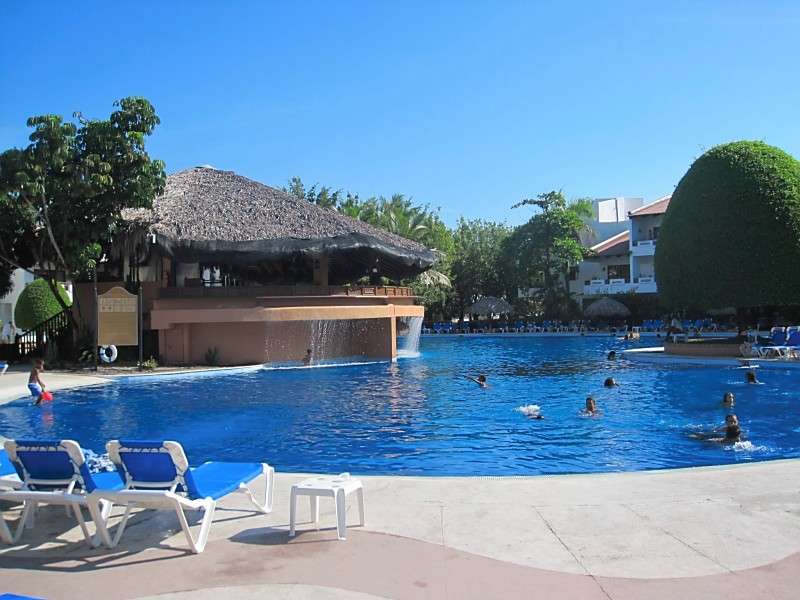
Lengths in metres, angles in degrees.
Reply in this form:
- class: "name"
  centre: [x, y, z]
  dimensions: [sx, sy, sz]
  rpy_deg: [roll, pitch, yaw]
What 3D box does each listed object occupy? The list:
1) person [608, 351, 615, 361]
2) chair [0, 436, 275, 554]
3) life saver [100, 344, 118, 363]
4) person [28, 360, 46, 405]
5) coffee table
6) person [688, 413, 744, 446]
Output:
- class: "person"
  centre: [8.785, 2.299, 28.656]
  dimensions: [0.266, 0.364, 0.902]
  rpy_deg: [-2, -1, 3]
- class: "chair"
  centre: [-2.858, 1.919, 7.386]
  dimensions: [2.543, 0.940, 1.240]
  rpy_deg: [-1, 0, 7]
- class: "life saver"
  centre: [-10.205, 1.878, 24.301]
  dimensions: [0.506, 0.564, 1.091]
  rpy_deg: [0, 0, -24]
- class: "person"
  centre: [-9.225, 2.005, 17.680]
  dimensions: [0.358, 1.014, 1.612]
  rpy_deg: [-1, 0, -28]
- class: "coffee table"
  centre: [-0.724, 2.112, 7.175]
  dimensions: [0.560, 0.451, 0.586]
  rpy_deg: [-1, -8, -4]
- class: "person"
  centre: [5.692, 2.241, 12.402]
  dimensions: [0.505, 0.616, 1.045]
  rpy_deg: [5, -5, -44]
